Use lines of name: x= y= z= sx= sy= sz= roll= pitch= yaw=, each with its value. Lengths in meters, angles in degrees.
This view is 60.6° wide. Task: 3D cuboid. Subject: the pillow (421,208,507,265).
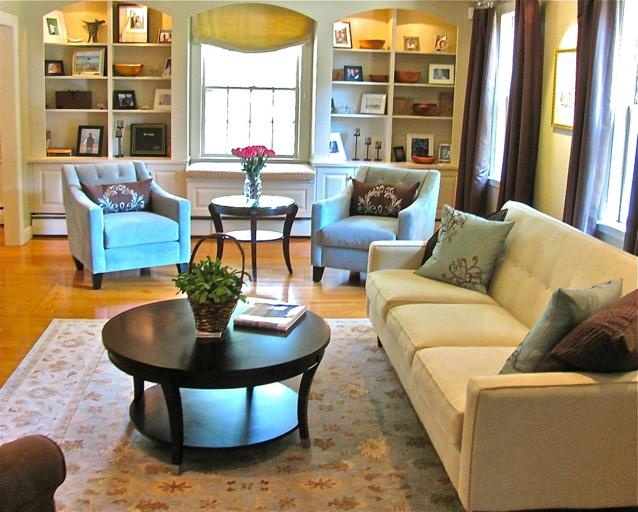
pillow: x=0.988 y=-0.144 z=3.726 sx=0.132 sy=0.421 sz=0.443 roll=18 pitch=-3 yaw=-7

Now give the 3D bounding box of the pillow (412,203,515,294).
pillow: x=0.942 y=-0.032 z=3.565 sx=0.324 sy=0.547 sz=0.622 roll=-16 pitch=22 yaw=-36

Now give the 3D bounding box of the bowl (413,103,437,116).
bowl: x=1.338 y=-1.859 z=6.875 sx=0.299 sy=0.173 sz=0.328 roll=1 pitch=15 yaw=0

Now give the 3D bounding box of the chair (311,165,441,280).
chair: x=0.461 y=-0.464 z=5.353 sx=1.043 sy=1.274 sz=1.197 roll=7 pitch=13 yaw=26

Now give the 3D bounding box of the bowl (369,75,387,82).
bowl: x=0.739 y=-2.204 z=6.758 sx=0.228 sy=0.092 sz=0.194 roll=2 pitch=15 yaw=5

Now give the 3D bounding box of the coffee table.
coffee table: x=-0.534 y=0.643 z=2.895 sx=1.163 sy=0.515 sz=1.160 roll=4 pitch=8 yaw=10

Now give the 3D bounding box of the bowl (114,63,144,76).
bowl: x=-2.318 y=-2.268 z=6.636 sx=0.363 sy=0.165 sz=0.230 roll=-4 pitch=16 yaw=-20

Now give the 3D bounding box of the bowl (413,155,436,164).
bowl: x=1.299 y=-1.197 z=6.751 sx=0.152 sy=0.061 sz=0.152 roll=-2 pitch=6 yaw=0

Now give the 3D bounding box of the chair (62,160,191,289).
chair: x=-1.841 y=-0.327 z=5.466 sx=1.178 sy=1.306 sz=1.251 roll=-8 pitch=18 yaw=-36

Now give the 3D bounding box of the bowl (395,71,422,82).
bowl: x=1.130 y=-2.236 z=6.794 sx=0.369 sy=0.160 sz=0.266 roll=-1 pitch=15 yaw=-7

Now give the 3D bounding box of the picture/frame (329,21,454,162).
picture/frame: x=0.909 y=-2.143 z=6.872 sx=1.740 sy=1.947 sz=0.492 roll=-1 pitch=11 yaw=-4

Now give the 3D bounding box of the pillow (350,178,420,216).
pillow: x=0.647 y=-0.550 z=5.159 sx=0.404 sy=0.261 sz=0.110 roll=6 pitch=-12 yaw=31
